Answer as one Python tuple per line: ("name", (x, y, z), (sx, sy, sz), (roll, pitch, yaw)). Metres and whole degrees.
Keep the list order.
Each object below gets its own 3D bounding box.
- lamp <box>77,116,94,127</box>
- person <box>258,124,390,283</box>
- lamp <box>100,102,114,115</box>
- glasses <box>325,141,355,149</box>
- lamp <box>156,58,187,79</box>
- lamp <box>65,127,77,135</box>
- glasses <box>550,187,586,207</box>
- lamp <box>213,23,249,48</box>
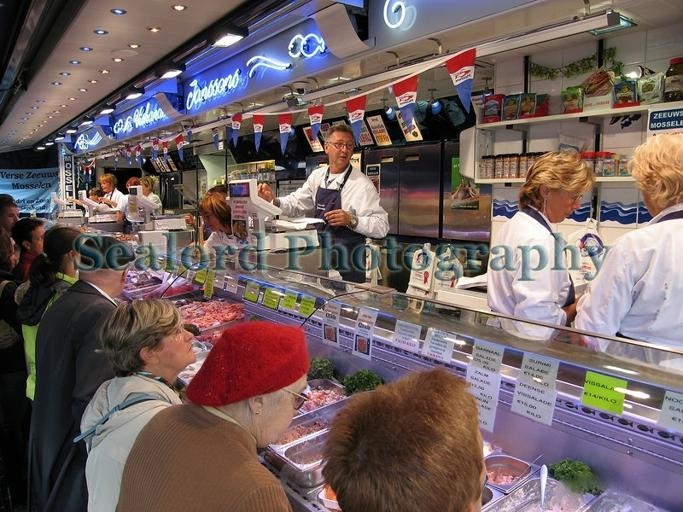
("lamp", (-5.663, -2.954, 9.878), (0.321, 0.107, 0.232), (-15, -15, 39))
("person", (-0.151, -0.057, 3.923), (1.020, 2.024, 0.749), (2, 6, 40))
("lamp", (-4.371, -2.721, 8.257), (0.144, 0.063, 0.260), (-27, 8, -7))
("glasses", (-0.008, -0.910, 3.735), (0.238, 0.061, 0.182), (-2, 5, -5))
("lamp", (-2.152, -2.363, 5.598), (0.295, 0.192, 0.431), (-4, 6, -30))
("lamp", (-6.783, -3.105, 11.108), (0.330, 0.082, 0.312), (-2, -2, 35))
("glasses", (1.148, -0.296, 2.284), (0.109, 0.034, 0.112), (3, 14, -45))
("lamp", (-1.124, -2.155, 4.424), (0.309, 0.127, 0.408), (-4, 6, -28))
